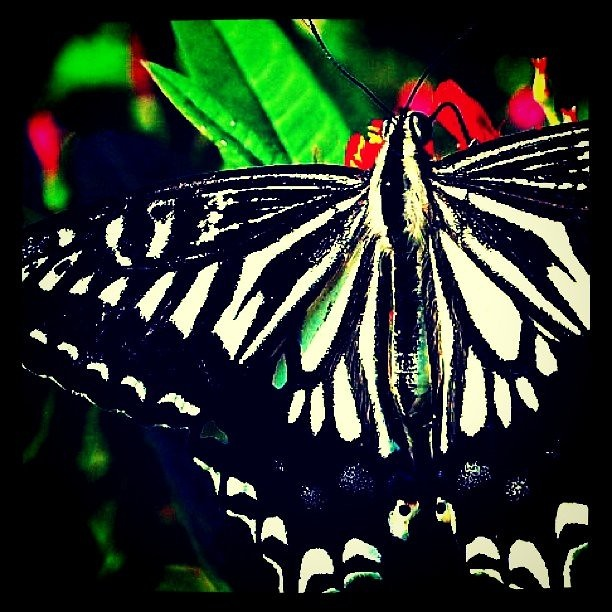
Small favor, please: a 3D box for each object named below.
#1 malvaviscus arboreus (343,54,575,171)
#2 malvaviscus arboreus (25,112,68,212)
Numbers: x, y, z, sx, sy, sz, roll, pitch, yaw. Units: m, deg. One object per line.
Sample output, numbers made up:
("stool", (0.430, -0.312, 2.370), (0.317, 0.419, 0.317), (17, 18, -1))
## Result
("malvaviscus arboreus", (0.404, -0.419, 2.073), (0.444, 0.250, 0.143), (2, 5, 9))
("malvaviscus arboreus", (-0.634, -0.374, 2.173), (0.072, 0.293, 0.088), (-2, 2, 31))
